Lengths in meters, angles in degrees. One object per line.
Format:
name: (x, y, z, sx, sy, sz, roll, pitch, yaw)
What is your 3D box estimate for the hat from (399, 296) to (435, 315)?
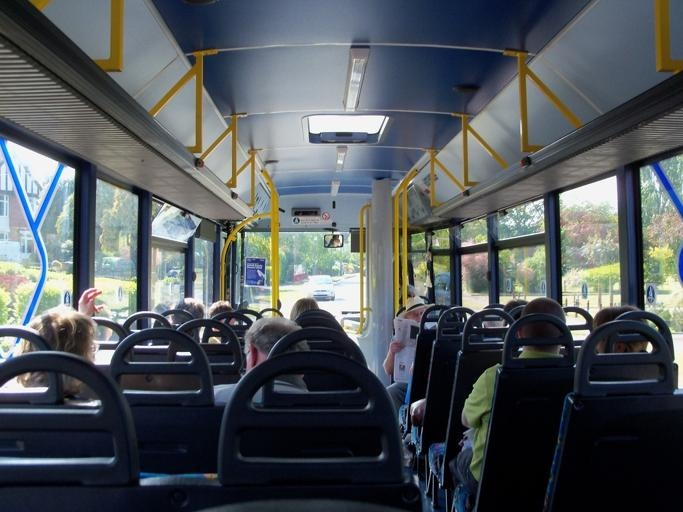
hat: (0.878, 0.595, 6.658, 0.337, 0.162, 0.407, -14, -12, -8)

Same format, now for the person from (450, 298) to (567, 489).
person: (1.017, 0.835, 3.297, 0.663, 1.168, 0.759, 3, 4, -16)
